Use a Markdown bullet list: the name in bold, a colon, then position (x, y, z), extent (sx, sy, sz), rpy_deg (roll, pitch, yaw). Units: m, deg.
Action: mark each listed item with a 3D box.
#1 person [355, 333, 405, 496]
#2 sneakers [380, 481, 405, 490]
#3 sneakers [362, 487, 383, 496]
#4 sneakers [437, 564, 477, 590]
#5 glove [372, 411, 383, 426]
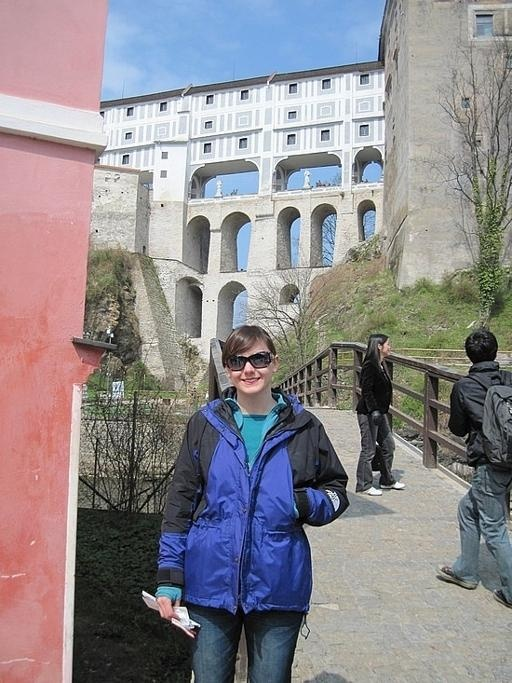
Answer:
- **person**: position (1.145, 0.695, 5.619), extent (0.423, 1.216, 0.633), rpy_deg (1, 0, 23)
- **sneakers**: position (1.331, 1.397, 5.848), extent (0.262, 0.107, 0.095), rpy_deg (-2, 0, 5)
- **sneakers**: position (1.090, 1.412, 5.604), extent (0.143, 0.059, 0.080), rpy_deg (-3, -5, 34)
- **sneakers**: position (1.183, 1.406, 3.494), extent (0.208, 0.087, 0.077), rpy_deg (25, -6, 36)
- **glove**: position (1.128, 0.713, 5.505), extent (0.094, 0.123, 0.112), rpy_deg (-6, -41, 24)
